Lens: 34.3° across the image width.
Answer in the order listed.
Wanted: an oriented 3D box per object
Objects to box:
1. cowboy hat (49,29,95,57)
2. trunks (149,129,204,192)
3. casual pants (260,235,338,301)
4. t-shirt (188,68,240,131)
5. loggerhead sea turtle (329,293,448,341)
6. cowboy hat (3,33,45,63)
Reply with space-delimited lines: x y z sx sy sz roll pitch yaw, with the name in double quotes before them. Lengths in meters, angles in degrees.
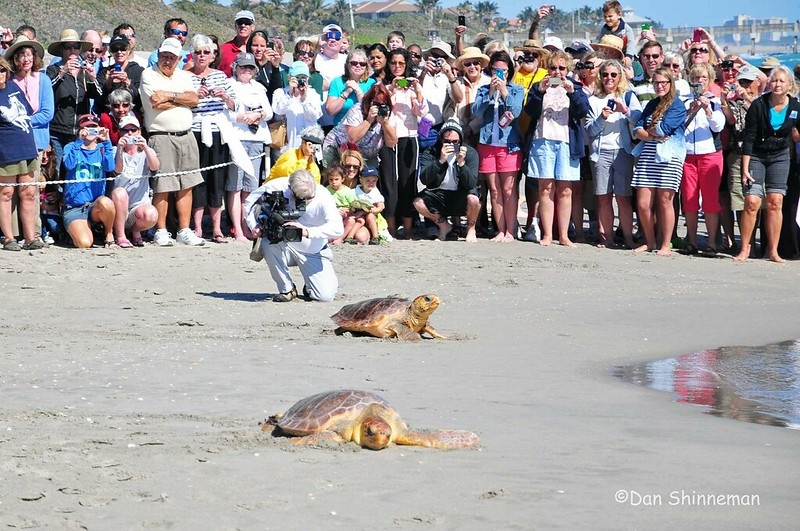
"cowboy hat" -4.479 -3.030 17.368 0.480 0.147 0.483 -5 -9 -15
"trunks" -3.019 -1.416 17.262 0.505 0.874 0.832 9 15 44
"casual pants" -1.142 0.068 14.952 0.743 0.523 0.833 0 0 8
"t-shirt" -2.416 -2.227 17.463 0.680 0.751 0.277 31 50 1
"loggerhead sea turtle" -0.170 0.533 13.779 0.932 0.253 0.569 -2 -1 21
"cowboy hat" -4.818 -2.769 16.711 0.514 0.295 0.335 -5 7 -33
